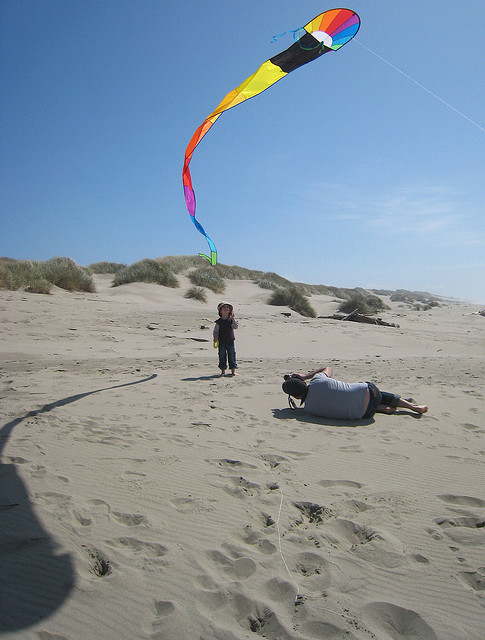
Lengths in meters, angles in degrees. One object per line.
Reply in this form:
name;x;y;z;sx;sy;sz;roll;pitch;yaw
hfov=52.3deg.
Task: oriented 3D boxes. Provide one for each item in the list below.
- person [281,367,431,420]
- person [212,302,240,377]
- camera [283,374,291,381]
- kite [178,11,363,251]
person;1.193;0.821;5.531;1.474;0.484;0.623;6;7;6
person;-0.231;0.299;7.776;0.456;1.108;0.661;6;7;-1
camera;0.519;0.666;5.686;0.082;0.090;0.218;7;7;8
kite;0.284;-1.940;4.616;0.895;3.093;0.285;37;-9;-2
